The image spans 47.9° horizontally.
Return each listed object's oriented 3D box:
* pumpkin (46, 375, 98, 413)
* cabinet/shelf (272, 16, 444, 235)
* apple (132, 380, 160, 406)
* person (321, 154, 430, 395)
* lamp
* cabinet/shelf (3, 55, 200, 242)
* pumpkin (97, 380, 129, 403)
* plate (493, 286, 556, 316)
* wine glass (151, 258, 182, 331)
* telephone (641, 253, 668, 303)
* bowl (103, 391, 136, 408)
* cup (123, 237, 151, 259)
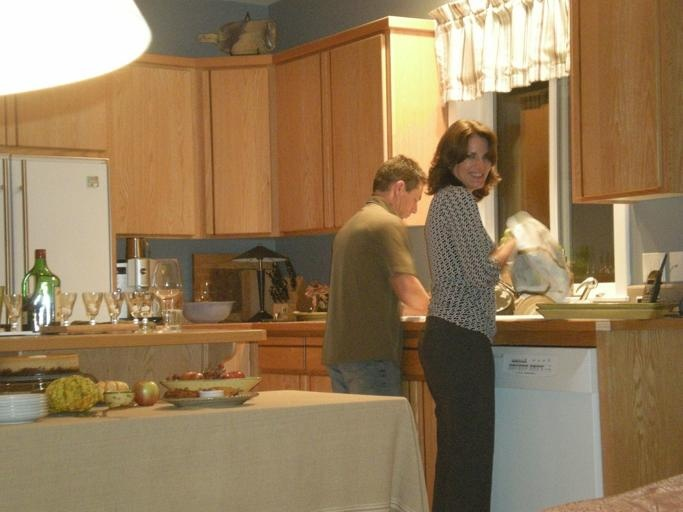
[{"bbox_3d":[-0.662,0.330,1.890,0.078,0.074,0.100,-1,0,-11],"label":"pumpkin"},{"bbox_3d":[0.060,-0.745,4.886,0.428,1.230,1.165,-3,3,-39],"label":"cabinet/shelf"},{"bbox_3d":[-0.502,0.355,1.992,0.054,0.057,0.058,2,13,13],"label":"apple"},{"bbox_3d":[0.145,0.076,3.347,0.464,0.906,0.443,-2,-1,7],"label":"person"},{"bbox_3d":[-0.583,0.176,5.376,0.422,0.600,0.453,-1,-1,10],"label":"lamp"},{"bbox_3d":[-1.365,-0.565,4.311,1.075,1.051,0.355,-2,4,-32],"label":"cabinet/shelf"},{"bbox_3d":[-0.586,0.351,1.987,0.052,0.032,0.053,2,1,-31],"label":"pumpkin"},{"bbox_3d":[0.798,0.194,3.451,0.109,0.086,0.192,-1,3,-19],"label":"plate"},{"bbox_3d":[-0.643,0.135,2.832,0.107,0.191,0.240,-2,-1,-14],"label":"wine glass"},{"bbox_3d":[1.241,0.107,3.071,0.045,0.197,0.046,13,14,28],"label":"telephone"},{"bbox_3d":[-0.564,0.360,1.938,0.039,0.027,0.056,-1,-7,11],"label":"bowl"},{"bbox_3d":[-1.361,-0.062,5.133,0.158,0.173,0.104,1,-3,-24],"label":"cup"}]
